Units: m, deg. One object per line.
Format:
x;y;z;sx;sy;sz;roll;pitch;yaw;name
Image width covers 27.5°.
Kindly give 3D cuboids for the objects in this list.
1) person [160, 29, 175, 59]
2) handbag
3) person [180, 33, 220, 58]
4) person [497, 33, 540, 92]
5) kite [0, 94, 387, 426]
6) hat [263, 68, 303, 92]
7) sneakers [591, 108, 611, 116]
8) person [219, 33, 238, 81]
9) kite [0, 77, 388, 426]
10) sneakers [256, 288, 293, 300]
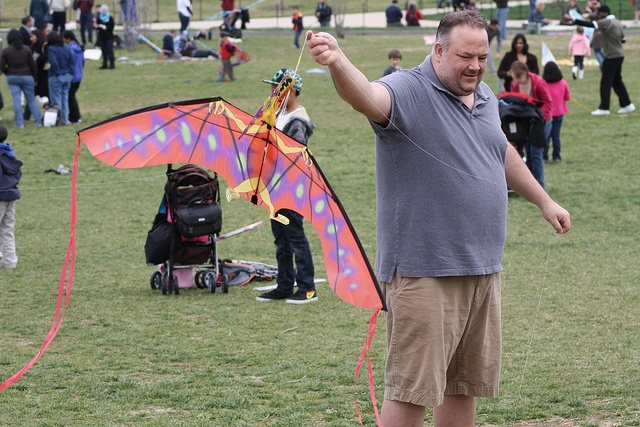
-3.994;-4.504;34.633;0.338;0.649;1.385;-1;10;-7;person
-1.864;-0.052;20.187;0.754;0.769;0.420;-9;15;-22;handbag
-3.260;-4.401;34.546;1.106;0.641;0.537;14;38;14;person
3.728;-2.449;24.339;0.731;1.804;0.561;3;-10;2;person
-1.884;0.872;19.364;4.083;3.738;1.491;9;22;9;kite
-0.508;-2.011;19.329;0.587;0.291;0.362;16;2;-1;hat
5.840;-2.118;27.191;0.339;0.146;0.126;6;6;18;sneakers
-2.172;-3.688;31.144;0.432;1.004;0.863;0;9;-3;person
-1.903;0.758;19.556;4.162;3.770;1.498;17;-14;-4;kite
-0.700;1.256;20.189;0.553;0.209;0.201;4;-2;-1;sneakers
